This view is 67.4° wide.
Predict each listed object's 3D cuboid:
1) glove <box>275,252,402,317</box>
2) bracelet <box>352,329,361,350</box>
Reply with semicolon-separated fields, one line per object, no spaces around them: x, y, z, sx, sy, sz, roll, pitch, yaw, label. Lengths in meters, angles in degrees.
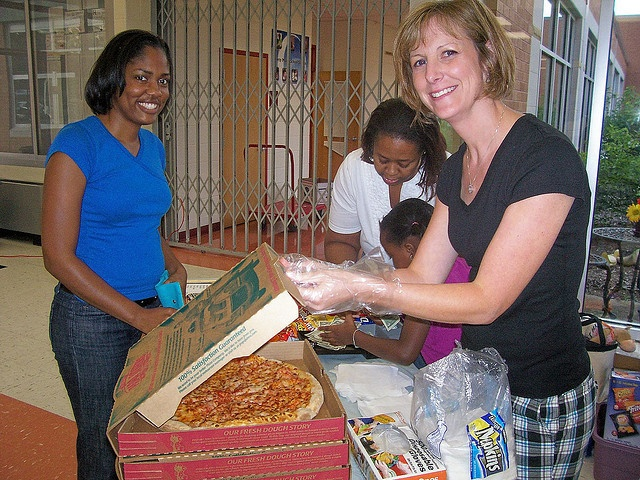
0.052;0.130;1.321;0.323;0.156;0.161;0;9;-4;glove
0.148;0.378;1.814;0.020;0.059;0.047;2;-1;9;bracelet
